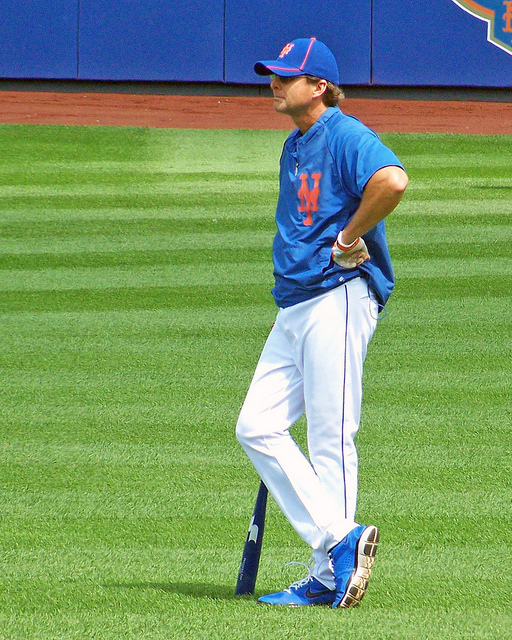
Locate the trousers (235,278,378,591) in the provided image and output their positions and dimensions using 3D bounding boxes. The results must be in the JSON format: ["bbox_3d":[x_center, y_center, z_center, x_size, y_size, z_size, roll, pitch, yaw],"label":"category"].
[{"bbox_3d":[0.190,0.450,5.521,0.534,1.253,0.452,5,14,5],"label":"trousers"}]

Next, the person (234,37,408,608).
[{"bbox_3d":[0.257,0.011,5.488,0.602,2.260,0.753,4,14,1],"label":"person"}]

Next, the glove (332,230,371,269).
[{"bbox_3d":[0.392,-0.282,5.405,0.082,0.120,0.156,-20,27,24],"label":"glove"}]
